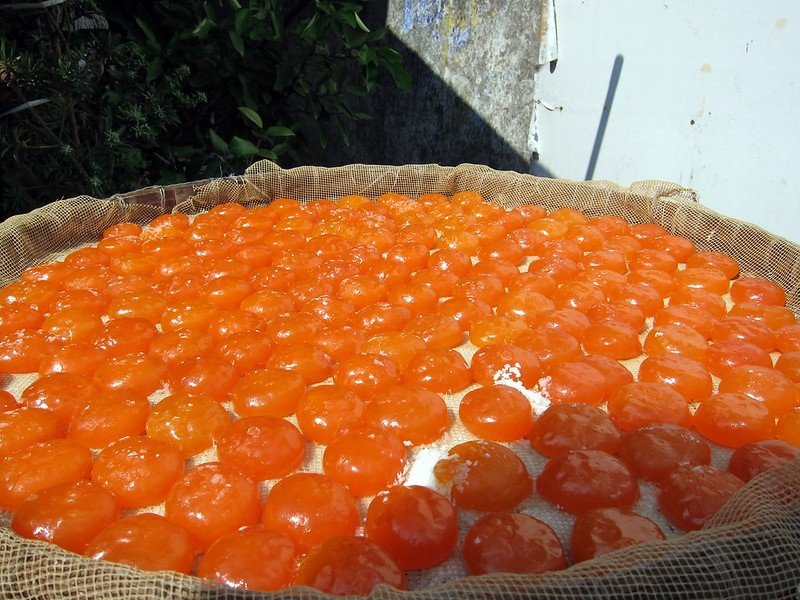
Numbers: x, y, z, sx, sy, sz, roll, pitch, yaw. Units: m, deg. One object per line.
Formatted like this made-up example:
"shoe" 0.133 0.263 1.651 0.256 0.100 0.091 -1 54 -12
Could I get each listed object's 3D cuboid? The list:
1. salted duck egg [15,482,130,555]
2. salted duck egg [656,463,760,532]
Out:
"salted duck egg" -0.598 0.397 1.095 0.147 0.059 0.112 8 23 -5
"salted duck egg" 0.592 0.368 1.155 0.144 0.066 0.107 -13 19 -4
